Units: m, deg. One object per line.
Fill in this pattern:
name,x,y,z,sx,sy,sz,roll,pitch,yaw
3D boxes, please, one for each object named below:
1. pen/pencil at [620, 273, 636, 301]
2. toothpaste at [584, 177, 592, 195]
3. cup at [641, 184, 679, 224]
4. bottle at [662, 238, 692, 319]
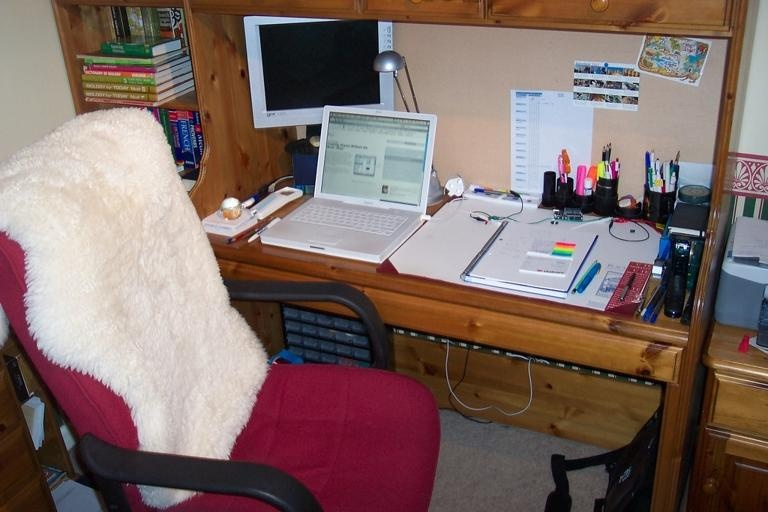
pen/pencil,0.767,0.101,1.805,0.013,0.010,0.100,25,54,19
toothpaste,0.757,-0.262,2.137,0.027,0.066,0.026,12,43,28
cup,0.992,-0.186,2.074,0.096,0.099,0.129,15,36,28
bottle,0.870,0.064,1.696,0.069,0.232,0.079,12,25,26
